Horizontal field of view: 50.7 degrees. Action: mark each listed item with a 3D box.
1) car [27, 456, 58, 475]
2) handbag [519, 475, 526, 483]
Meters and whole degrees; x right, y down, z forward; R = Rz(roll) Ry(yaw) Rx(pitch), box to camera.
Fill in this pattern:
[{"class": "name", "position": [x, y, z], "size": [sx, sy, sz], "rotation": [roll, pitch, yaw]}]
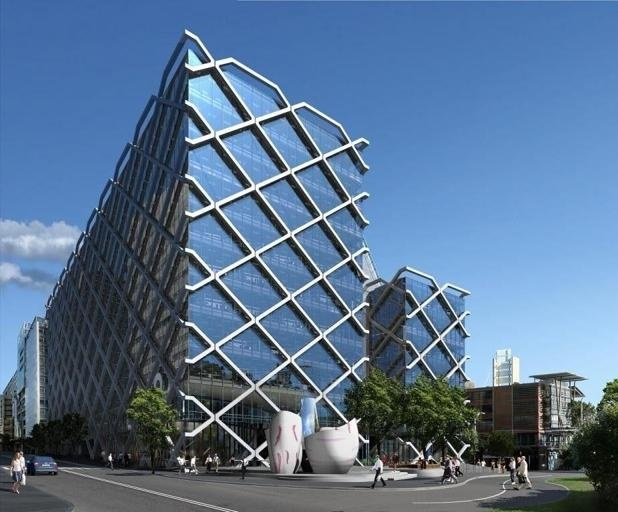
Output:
[{"class": "car", "position": [-21.672, 16.925, 52.888], "size": [2.667, 1.521, 1.625], "rotation": [-10, -21, 31]}, {"class": "handbag", "position": [15.384, 16.073, 47.098], "size": [0.404, 0.788, 0.725], "rotation": [-3, -8, 14]}]
